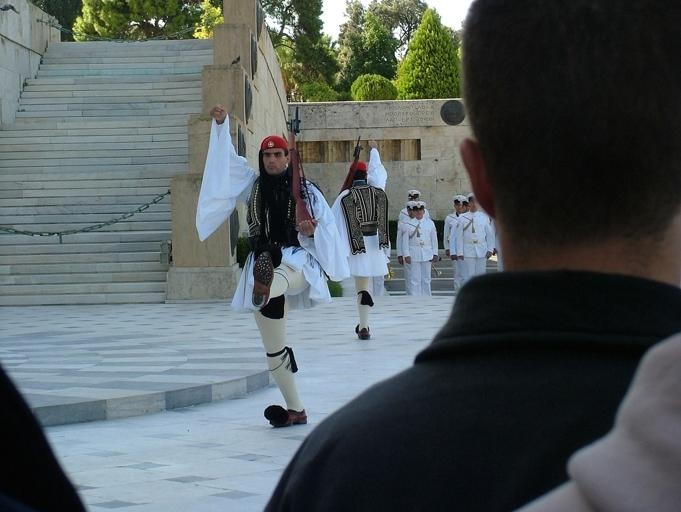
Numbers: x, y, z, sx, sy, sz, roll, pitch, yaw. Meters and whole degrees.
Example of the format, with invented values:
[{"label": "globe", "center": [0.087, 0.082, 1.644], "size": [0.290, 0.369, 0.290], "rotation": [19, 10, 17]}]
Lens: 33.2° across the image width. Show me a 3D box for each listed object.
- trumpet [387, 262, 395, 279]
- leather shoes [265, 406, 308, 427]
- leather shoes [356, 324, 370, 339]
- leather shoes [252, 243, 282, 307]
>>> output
[{"label": "trumpet", "center": [0.651, 0.161, 13.607], "size": [0.129, 0.148, 0.394], "rotation": [-1, -5, -3]}, {"label": "leather shoes", "center": [-0.285, 0.865, 6.207], "size": [0.107, 0.091, 0.235], "rotation": [-2, -4, 40]}, {"label": "leather shoes", "center": [0.217, 0.699, 10.605], "size": [0.146, 0.131, 0.352], "rotation": [-1, 1, 0]}, {"label": "leather shoes", "center": [-0.409, 0.097, 6.203], "size": [0.123, 0.329, 0.144], "rotation": [6, -38, 10]}]
